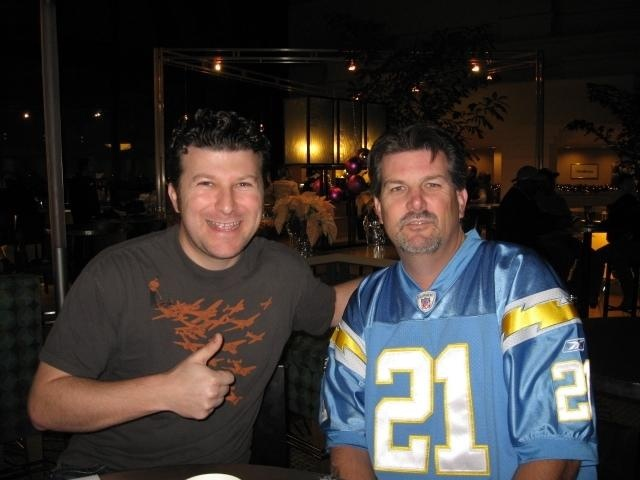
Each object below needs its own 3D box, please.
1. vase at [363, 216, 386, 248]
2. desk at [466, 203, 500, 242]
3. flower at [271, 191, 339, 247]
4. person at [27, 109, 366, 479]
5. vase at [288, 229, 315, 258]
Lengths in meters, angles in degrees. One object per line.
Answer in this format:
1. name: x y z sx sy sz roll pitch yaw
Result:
1. vase: 0.529 -0.098 5.610 0.233 0.293 0.243 -2 7 -18
2. desk: 2.185 -0.269 7.841 0.512 0.517 0.417 5 14 19
3. flower: -0.137 -0.163 5.006 0.501 0.311 0.508 2 2 -2
4. person: -0.550 0.201 2.339 1.129 1.494 0.616 0 6 2
5. vase: -0.142 0.024 4.696 0.154 0.251 0.157 -6 -20 -36
